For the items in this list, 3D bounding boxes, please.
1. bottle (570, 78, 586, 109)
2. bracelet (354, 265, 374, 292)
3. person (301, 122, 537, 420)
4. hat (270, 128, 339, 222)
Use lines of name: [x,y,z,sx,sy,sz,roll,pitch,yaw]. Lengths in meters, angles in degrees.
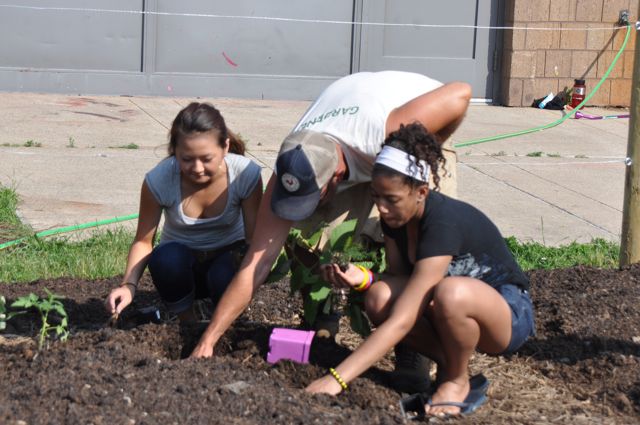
bottle: [4.395,-2.016,11.929,0.238,0.497,0.393,8,15,18]
bracelet: [0.292,0.447,4.712,0.065,0.160,0.128,10,-10,-11]
person: [0.739,0.363,4.499,1.372,1.748,0.667,4,14,0]
hat: [-0.097,-0.212,4.663,0.351,0.615,0.266,16,-7,21]
